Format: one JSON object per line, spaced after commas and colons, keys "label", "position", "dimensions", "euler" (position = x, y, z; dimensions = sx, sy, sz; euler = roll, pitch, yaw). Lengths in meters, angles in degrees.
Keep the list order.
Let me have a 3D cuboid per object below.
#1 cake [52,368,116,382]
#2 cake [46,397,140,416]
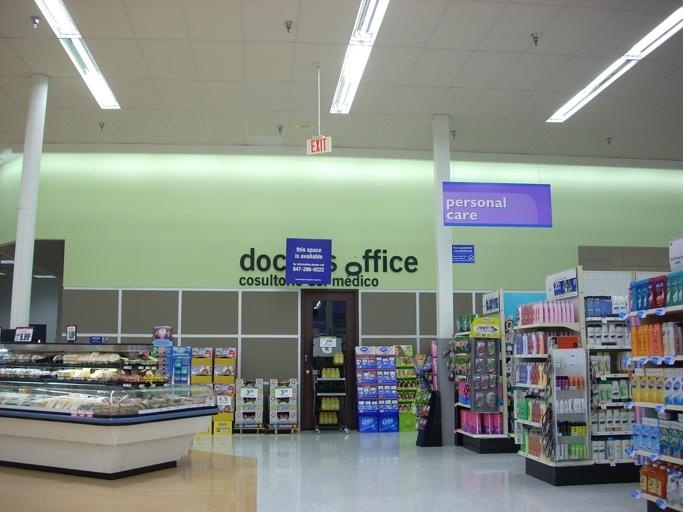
{"label": "cake", "position": [-3.917, 1.797, 8.019], "dimensions": [1.056, 0.190, 0.202], "euler": [-1, -10, 8]}
{"label": "cake", "position": [-3.372, 2.033, 7.185], "dimensions": [1.242, 0.229, 0.347], "euler": [-2, -10, 17]}
